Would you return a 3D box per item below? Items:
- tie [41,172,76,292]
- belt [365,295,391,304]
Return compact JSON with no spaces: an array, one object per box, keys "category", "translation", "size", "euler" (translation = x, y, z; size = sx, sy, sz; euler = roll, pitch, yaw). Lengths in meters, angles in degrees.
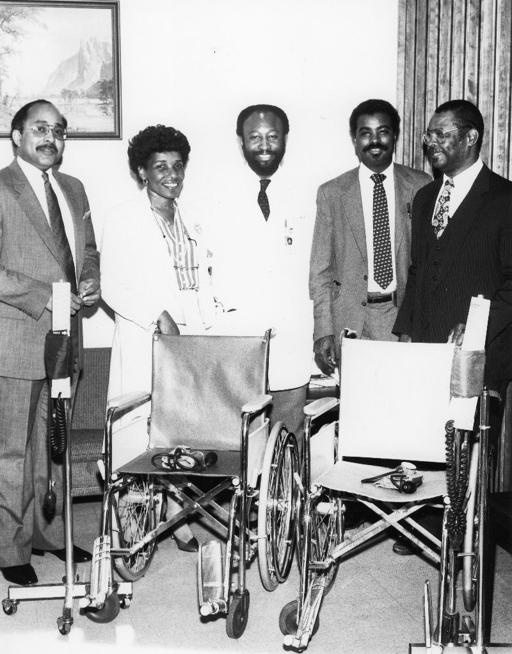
[{"category":"tie","translation":[-0.762,-0.345,3.194],"size":[0.058,0.521,0.038],"euler":[-12,-4,-14]},{"category":"belt","translation":[0.529,-0.126,3.679],"size":[0.113,0.045,0.024],"euler":[1,6,8]}]
